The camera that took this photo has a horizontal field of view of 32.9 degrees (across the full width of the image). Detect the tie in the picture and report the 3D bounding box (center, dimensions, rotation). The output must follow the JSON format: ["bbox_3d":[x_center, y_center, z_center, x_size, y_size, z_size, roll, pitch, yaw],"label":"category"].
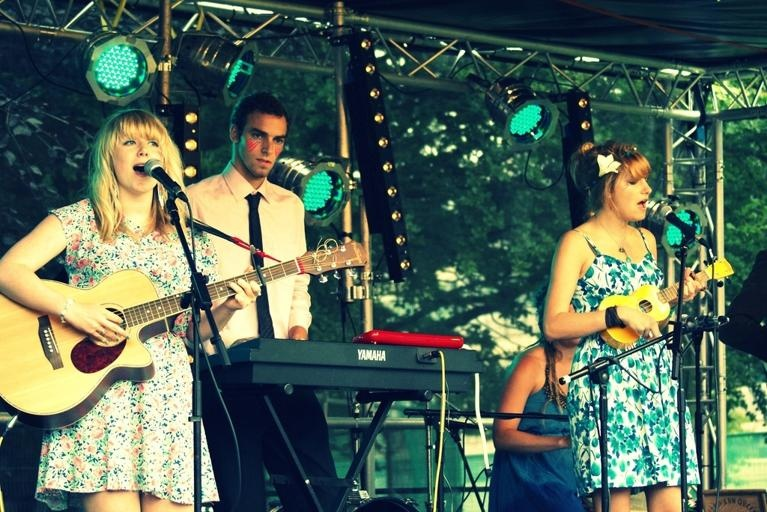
[{"bbox_3d":[-0.861,0.057,9.035,0.134,1.317,0.114,0,-16,-24],"label":"tie"}]

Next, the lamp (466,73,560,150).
[{"bbox_3d":[1.106,-1.355,11.336,0.429,0.729,0.401,30,-73,-40],"label":"lamp"}]

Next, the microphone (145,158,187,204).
[{"bbox_3d":[-1.364,-0.490,8.165,0.136,0.448,0.126,-27,-34,-23],"label":"microphone"}]

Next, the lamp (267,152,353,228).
[{"bbox_3d":[-0.562,-0.573,10.506,0.530,0.676,0.447,1,-5,-10],"label":"lamp"}]

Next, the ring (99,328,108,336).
[{"bbox_3d":[-1.739,0.472,8.076,0.045,0.045,0.013,-6,6,0],"label":"ring"}]

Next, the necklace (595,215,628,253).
[{"bbox_3d":[1.534,-0.139,8.734,0.097,0.353,0.050,-22,-15,-22],"label":"necklace"}]

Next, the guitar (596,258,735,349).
[{"bbox_3d":[1.981,0.289,9.031,1.317,0.467,0.207,-25,-12,-24],"label":"guitar"}]

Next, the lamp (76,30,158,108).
[{"bbox_3d":[-2.033,-1.466,10.020,0.539,0.525,0.177,-33,25,-21],"label":"lamp"}]

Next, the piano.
[{"bbox_3d":[-0.256,0.722,8.425,1.967,0.447,1.132,-1,-5,5],"label":"piano"}]
